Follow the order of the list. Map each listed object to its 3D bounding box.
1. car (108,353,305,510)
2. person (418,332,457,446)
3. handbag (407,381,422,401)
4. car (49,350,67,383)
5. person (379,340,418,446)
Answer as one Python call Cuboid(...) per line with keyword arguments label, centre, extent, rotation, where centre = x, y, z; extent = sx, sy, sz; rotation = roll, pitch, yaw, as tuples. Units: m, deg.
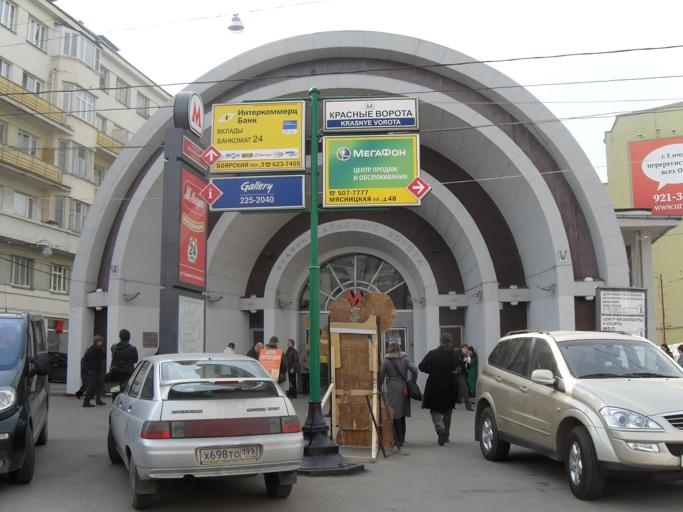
Cuboid(label="car", centre=(-2.070, 2.457, 9.713), extent=(1.678, 1.351, 2.763), rotation=(1, -3, -17))
Cuboid(label="person", centre=(2.284, 2.989, 14.203), extent=(0.906, 2.490, 0.726), rotation=(-2, -10, 12))
Cuboid(label="handbag", centre=(1.592, 2.858, 13.400), extent=(0.300, 0.380, 0.464), rotation=(-1, -11, 6))
Cuboid(label="car", centre=(-14.456, 5.676, 31.848), extent=(0.767, 1.559, 1.808), rotation=(5, -12, -25))
Cuboid(label="person", centre=(1.283, 3.024, 13.731), extent=(0.751, 2.267, 1.057), rotation=(-1, -10, 7))
